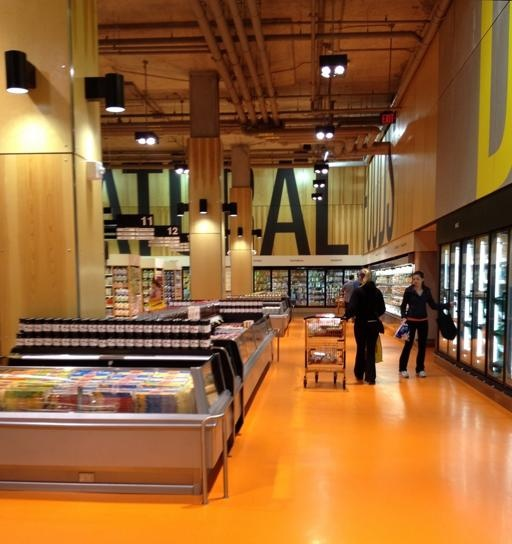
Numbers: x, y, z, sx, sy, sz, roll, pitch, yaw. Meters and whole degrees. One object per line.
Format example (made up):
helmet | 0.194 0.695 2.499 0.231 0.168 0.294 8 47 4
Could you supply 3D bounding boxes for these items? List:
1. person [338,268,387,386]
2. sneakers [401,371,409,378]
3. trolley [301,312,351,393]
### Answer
person | 1.628 0.848 7.352 0.564 1.697 0.728 0 2 15
sneakers | 2.348 1.610 7.782 0.089 0.052 0.129 2 6 19
trolley | 0.957 1.155 7.713 0.832 1.493 0.823 -1 1 2
